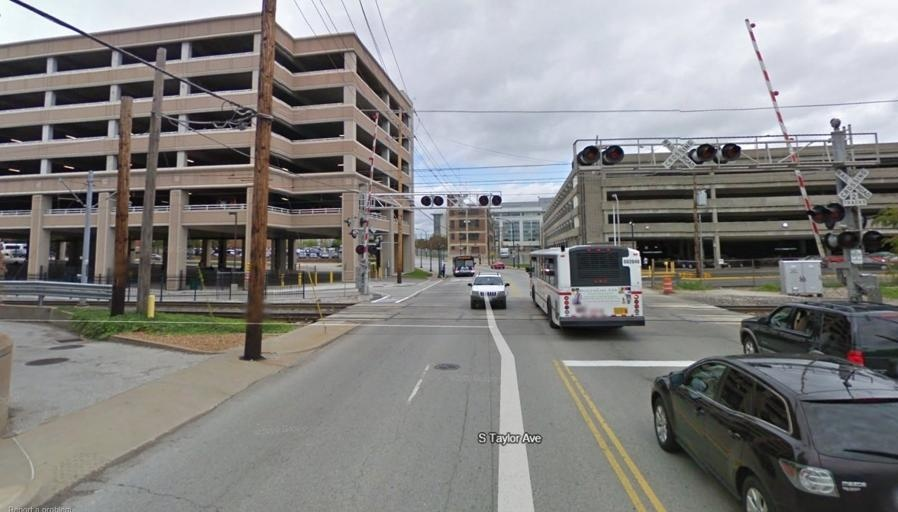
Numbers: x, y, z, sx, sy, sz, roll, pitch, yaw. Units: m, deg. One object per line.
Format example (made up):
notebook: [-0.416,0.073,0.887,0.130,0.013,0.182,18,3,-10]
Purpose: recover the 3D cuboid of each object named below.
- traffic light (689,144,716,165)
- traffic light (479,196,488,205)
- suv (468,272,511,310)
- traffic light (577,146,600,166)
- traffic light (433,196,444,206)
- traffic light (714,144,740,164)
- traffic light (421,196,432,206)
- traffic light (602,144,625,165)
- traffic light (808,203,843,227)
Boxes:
traffic light: [13.277,-5.396,31.861,1.212,0.813,0.988,-5,-6,41]
traffic light: [2.562,-4.113,45.064,0.928,0.659,0.424,3,-6,-43]
suv: [2.603,2.285,40.680,2.265,2.323,3.022,-1,-5,0]
traffic light: [7.501,-5.296,32.277,1.199,0.869,0.843,1,-5,-22]
traffic light: [-0.861,-4.000,44.161,0.653,0.729,0.658,-1,-5,0]
traffic light: [14.571,-5.486,31.755,1.193,0.969,1.524,-4,-6,32]
traffic light: [-1.686,-4.062,44.630,0.692,0.847,1.062,-1,-5,6]
traffic light: [8.600,-5.310,31.864,1.039,0.840,0.688,-3,-5,26]
traffic light: [18.734,-2.058,29.958,1.411,0.959,1.327,-2,3,33]
